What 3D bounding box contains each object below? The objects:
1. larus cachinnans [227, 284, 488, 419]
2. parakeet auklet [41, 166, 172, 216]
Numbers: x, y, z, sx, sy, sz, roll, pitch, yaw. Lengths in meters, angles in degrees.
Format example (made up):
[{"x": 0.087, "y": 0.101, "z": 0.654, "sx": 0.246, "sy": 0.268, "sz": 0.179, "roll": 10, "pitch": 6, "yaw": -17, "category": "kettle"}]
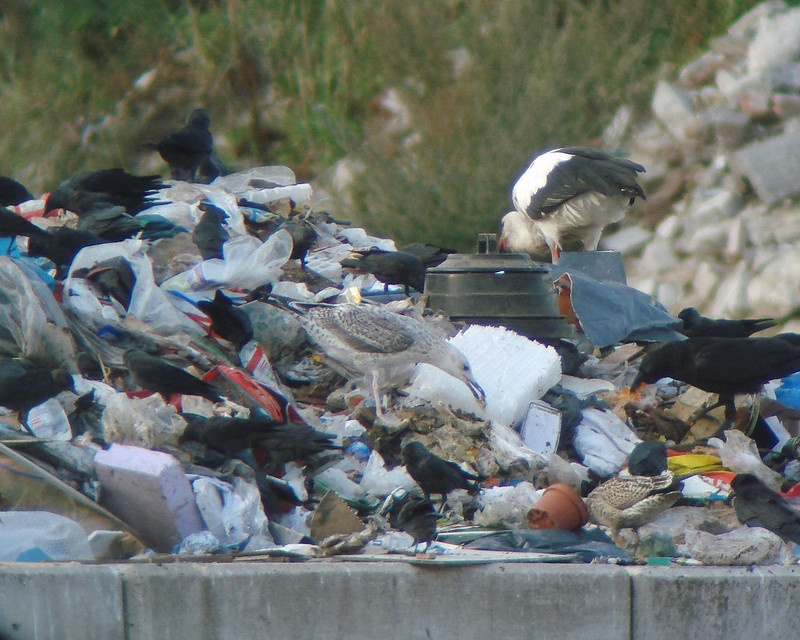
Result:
[{"x": -0.265, "y": 0.290, "z": 25.801, "sx": 2.211, "sy": 0.530, "sz": 0.761, "roll": 20, "pitch": 106, "yaw": 23, "category": "larus cachinnans"}, {"x": -2.343, "y": -0.908, "z": 26.756, "sx": 0.998, "sy": 0.617, "sz": 0.417, "roll": -15, "pitch": 72, "yaw": -3, "category": "parakeet auklet"}]
